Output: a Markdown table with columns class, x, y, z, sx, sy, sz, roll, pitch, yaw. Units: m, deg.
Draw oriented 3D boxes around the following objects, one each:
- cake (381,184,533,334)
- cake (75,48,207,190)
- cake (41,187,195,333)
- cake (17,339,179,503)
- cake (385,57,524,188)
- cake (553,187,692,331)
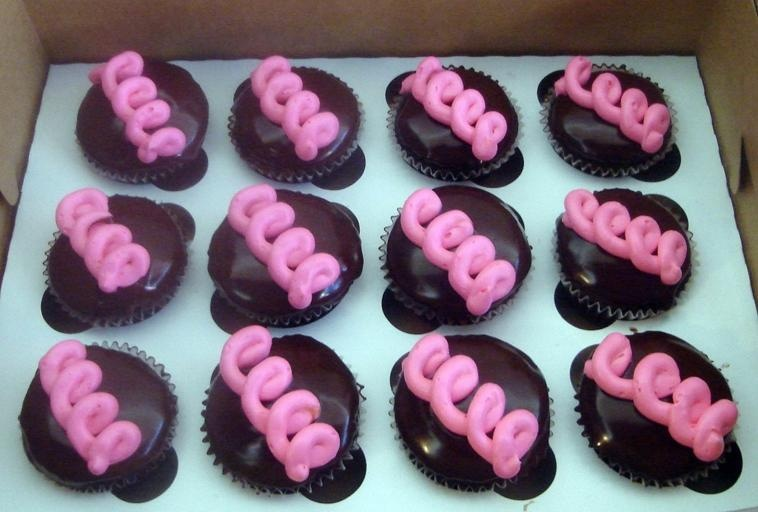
| class | x | y | z | sx | sy | sz | roll | pitch | yaw |
| --- | --- | --- | --- | --- | --- | --- | --- | --- | --- |
| cake | 0.371 | -0.036 | 4.222 | 0.743 | 0.386 | 0.669 | 9 | 65 | 5 |
| cake | -1.233 | -0.726 | 4.475 | 0.679 | 0.352 | 0.644 | 5 | 65 | 2 |
| cake | -1.302 | -0.012 | 4.197 | 0.689 | 0.365 | 0.631 | -6 | 65 | -3 |
| cake | -1.295 | 0.732 | 3.941 | 0.695 | 0.329 | 0.648 | 29 | 68 | 13 |
| cake | 0.351 | -0.687 | 4.490 | 0.718 | 0.351 | 0.483 | 27 | 67 | 12 |
| cake | 1.226 | -0.034 | 4.267 | 0.697 | 0.323 | 0.636 | 5 | 65 | 2 |
